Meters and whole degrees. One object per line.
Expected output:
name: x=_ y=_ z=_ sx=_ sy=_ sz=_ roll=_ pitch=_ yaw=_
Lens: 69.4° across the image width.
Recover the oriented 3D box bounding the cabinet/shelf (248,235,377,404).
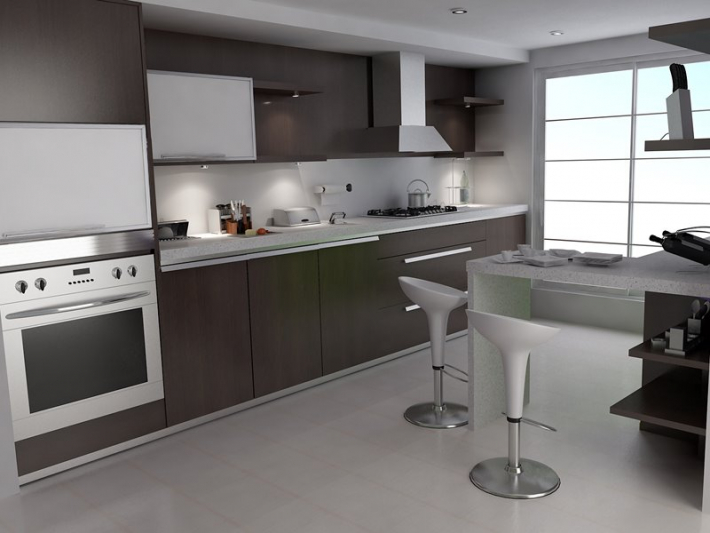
cabinet/shelf: x=-0.384 y=0.430 z=4.135 sx=0.437 sy=1.056 sz=1.174 roll=4 pitch=8 yaw=40

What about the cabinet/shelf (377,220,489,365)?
cabinet/shelf: x=1.016 y=0.252 z=5.060 sx=1.522 sy=1.134 sz=0.823 roll=-11 pitch=-14 yaw=40

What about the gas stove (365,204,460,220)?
gas stove: x=0.602 y=-0.567 z=5.310 sx=0.956 sy=0.060 sz=0.656 roll=-2 pitch=11 yaw=2

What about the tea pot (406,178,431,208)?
tea pot: x=0.706 y=-0.814 z=5.712 sx=0.272 sy=0.312 sz=0.803 roll=-1 pitch=11 yaw=9

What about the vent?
vent: x=0.220 y=-1.721 z=5.261 sx=0.892 sy=0.883 sz=0.915 roll=18 pitch=31 yaw=36

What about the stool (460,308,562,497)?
stool: x=0.893 y=0.737 z=2.905 sx=0.553 sy=0.964 sz=0.569 roll=-1 pitch=-1 yaw=-9

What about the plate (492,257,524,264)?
plate: x=0.961 y=-0.032 z=3.289 sx=0.119 sy=0.025 sz=0.063 roll=-7 pitch=6 yaw=31

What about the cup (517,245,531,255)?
cup: x=1.098 y=-0.110 z=3.344 sx=0.079 sy=0.073 sz=0.081 roll=-1 pitch=4 yaw=0

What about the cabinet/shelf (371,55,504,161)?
cabinet/shelf: x=0.983 y=-1.708 z=5.756 sx=0.521 sy=1.070 sz=1.744 roll=7 pitch=13 yaw=44
